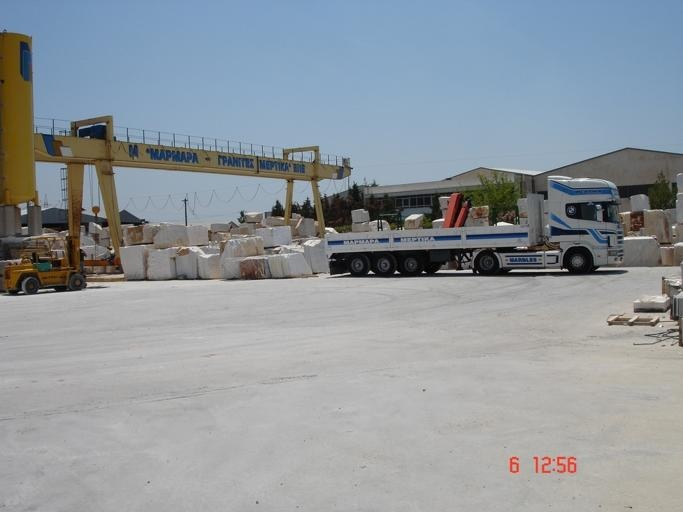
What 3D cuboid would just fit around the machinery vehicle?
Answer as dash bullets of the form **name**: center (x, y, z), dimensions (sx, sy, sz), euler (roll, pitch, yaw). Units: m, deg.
- **machinery vehicle**: center (-12.180, 0.481, 24.750), dimensions (3.509, 2.567, 2.333), euler (-3, 4, -36)
